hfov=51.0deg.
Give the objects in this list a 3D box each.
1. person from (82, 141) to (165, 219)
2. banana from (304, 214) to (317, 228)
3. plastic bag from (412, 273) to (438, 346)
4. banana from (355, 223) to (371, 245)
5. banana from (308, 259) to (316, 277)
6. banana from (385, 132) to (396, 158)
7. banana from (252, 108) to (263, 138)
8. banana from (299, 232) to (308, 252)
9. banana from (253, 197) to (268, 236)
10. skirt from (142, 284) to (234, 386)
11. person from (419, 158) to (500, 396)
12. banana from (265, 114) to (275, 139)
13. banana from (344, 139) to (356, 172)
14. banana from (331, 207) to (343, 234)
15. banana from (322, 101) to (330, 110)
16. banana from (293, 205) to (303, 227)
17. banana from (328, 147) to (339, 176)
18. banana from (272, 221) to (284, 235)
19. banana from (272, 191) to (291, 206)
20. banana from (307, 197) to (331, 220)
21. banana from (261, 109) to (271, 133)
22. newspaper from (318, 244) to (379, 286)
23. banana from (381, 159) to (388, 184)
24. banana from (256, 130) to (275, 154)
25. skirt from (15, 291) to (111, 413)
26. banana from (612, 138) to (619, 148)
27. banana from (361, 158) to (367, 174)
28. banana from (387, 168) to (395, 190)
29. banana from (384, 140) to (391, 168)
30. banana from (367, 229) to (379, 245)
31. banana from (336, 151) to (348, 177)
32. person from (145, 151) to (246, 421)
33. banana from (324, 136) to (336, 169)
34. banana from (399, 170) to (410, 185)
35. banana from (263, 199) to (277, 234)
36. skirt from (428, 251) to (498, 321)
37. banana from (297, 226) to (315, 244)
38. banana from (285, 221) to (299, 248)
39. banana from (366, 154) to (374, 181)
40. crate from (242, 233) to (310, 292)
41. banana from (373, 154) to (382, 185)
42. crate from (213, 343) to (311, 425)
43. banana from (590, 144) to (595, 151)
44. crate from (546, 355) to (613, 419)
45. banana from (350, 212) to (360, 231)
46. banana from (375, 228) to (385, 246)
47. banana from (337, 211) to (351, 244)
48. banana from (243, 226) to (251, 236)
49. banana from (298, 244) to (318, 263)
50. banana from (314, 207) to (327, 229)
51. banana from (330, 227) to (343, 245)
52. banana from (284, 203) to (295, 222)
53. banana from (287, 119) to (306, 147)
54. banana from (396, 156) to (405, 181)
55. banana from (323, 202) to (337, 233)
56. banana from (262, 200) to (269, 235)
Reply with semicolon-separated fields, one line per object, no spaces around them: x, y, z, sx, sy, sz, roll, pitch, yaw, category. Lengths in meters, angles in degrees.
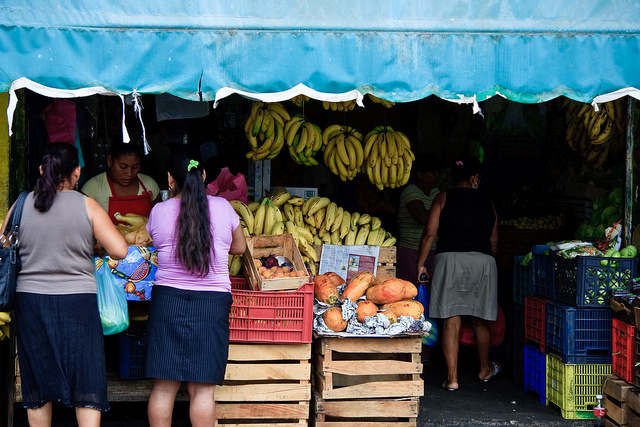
-1.975;-0.277;6.753;0.902;0.908;0.489;-6;15;-40;person
-0.095;0.067;6.582;0.068;0.125;0.043;-32;1;13;banana
1.175;1.096;7.285;0.249;0.748;0.322;-20;36;-39;plastic bag
0.422;0.208;6.695;0.086;0.284;0.082;-4;-42;46;banana
-0.079;0.514;6.523;0.039;0.214;0.066;-13;4;-13;banana
0.715;-0.700;6.861;0.106;0.352;0.070;-7;-29;16;banana
-0.603;-0.896;6.503;0.078;0.290;0.064;12;3;-42;banana
-0.161;0.266;6.407;0.058;0.196;0.060;-28;-18;24;banana
-0.553;0.044;6.333;0.068;0.323;0.104;-2;-30;19;banana
-1.044;0.951;5.257;0.682;0.817;0.181;-1;4;-2;skirt
1.477;0.598;7.014;0.747;2.365;0.847;1;4;28;person
-0.486;-0.842;6.534;0.074;0.256;0.053;0;-8;37;banana
0.316;-0.603;6.830;0.077;0.316;0.091;-12;-2;39;banana
0.181;0.054;6.663;0.073;0.293;0.089;30;-19;-34;banana
0.056;-1.043;6.388;0.075;0.100;0.087;-1;1;-5;banana
-0.225;0.019;6.591;0.088;0.173;0.051;29;-42;-26;banana
0.132;-0.535;6.926;0.091;0.308;0.075;-2;10;1;banana
-0.400;0.126;6.347;0.109;0.107;0.193;-2;4;-4;banana
-0.382;-0.161;6.572;0.176;0.102;0.071;-33;28;19;banana
-0.023;-0.088;6.674;0.102;0.317;0.094;37;-12;15;banana
-0.528;-0.912;6.498;0.075;0.272;0.059;5;-12;18;banana
0.282;0.479;6.534;0.586;0.371;0.086;-1;4;0;newspaper
0.670;-0.443;6.941;0.050;0.250;0.058;0;6;19;banana
-0.533;-0.710;6.561;0.043;0.219;0.069;38;-17;-35;banana
-2.010;1.004;5.244;0.628;0.994;0.394;0;0;-7;skirt
3.146;-0.763;7.115;0.042;0.169;0.029;-5;27;46;banana
0.458;-0.504;7.072;0.035;0.147;0.045;-9;26;-25;banana
0.730;-0.357;6.999;0.056;0.245;0.073;-5;-1;33;banana
0.691;-0.607;6.846;0.048;0.239;0.057;-1;-1;6;banana
0.517;0.228;6.668;0.071;0.154;0.045;10;-22;22;banana
0.213;-0.497;6.890;0.087;0.300;0.073;-15;3;-14;banana
-0.985;0.420;5.233;0.758;1.824;0.313;-2;4;-18;person
0.092;-0.639;6.907;0.088;0.373;0.074;16;3;-1;banana
0.885;-0.370;7.009;0.042;0.098;0.181;-22;10;28;banana
-0.464;0.027;6.346;0.070;0.300;0.100;12;-17;-3;banana
1.457;0.725;6.836;0.677;0.695;0.259;-1;4;11;skirt
-0.136;0.191;6.511;0.082;0.259;0.090;-40;20;-4;banana
-0.273;0.174;6.407;0.067;0.289;0.097;-11;-1;-13;banana
0.521;-0.468;6.927;0.070;0.246;0.054;-8;8;-15;banana
-0.408;0.452;5.905;0.370;0.293;0.659;-4;41;-17;crate
0.604;-0.463;6.937;0.096;0.310;0.058;3;3;-37;banana
-0.513;1.417;6.147;0.717;0.783;0.751;0;1;-3;crate
2.980;-0.730;7.325;0.014;0.066;0.056;-1;8;-44;banana
2.377;1.626;6.151;0.537;0.508;0.225;0;19;0;crate
0.345;0.074;6.733;0.074;0.171;0.052;25;-21;-9;banana
0.598;0.225;6.738;0.074;0.162;0.049;10;-17;-2;banana
0.242;0.124;6.688;0.103;0.322;0.079;26;-31;-13;banana
-0.676;0.162;6.202;0.025;0.076;0.051;-22;-10;40;banana
-0.098;0.384;6.459;0.078;0.257;0.088;-28;18;34;banana
-0.008;0.032;6.591;0.066;0.241;0.073;28;-12;-4;banana
0.155;0.222;6.628;0.083;0.150;0.044;-7;-6;-7;banana
-0.307;-0.014;6.535;0.047;0.157;0.080;-5;-16;-36;banana
-0.262;-0.809;6.578;0.105;0.307;0.076;34;-8;-37;banana
0.824;-0.470;6.955;0.057;0.254;0.076;3;5;-24;banana
0.090;0.018;6.594;0.084;0.332;0.092;1;-10;16;banana
-0.523;0.038;6.384;0.040;0.317;0.041;8;-24;-8;banana
